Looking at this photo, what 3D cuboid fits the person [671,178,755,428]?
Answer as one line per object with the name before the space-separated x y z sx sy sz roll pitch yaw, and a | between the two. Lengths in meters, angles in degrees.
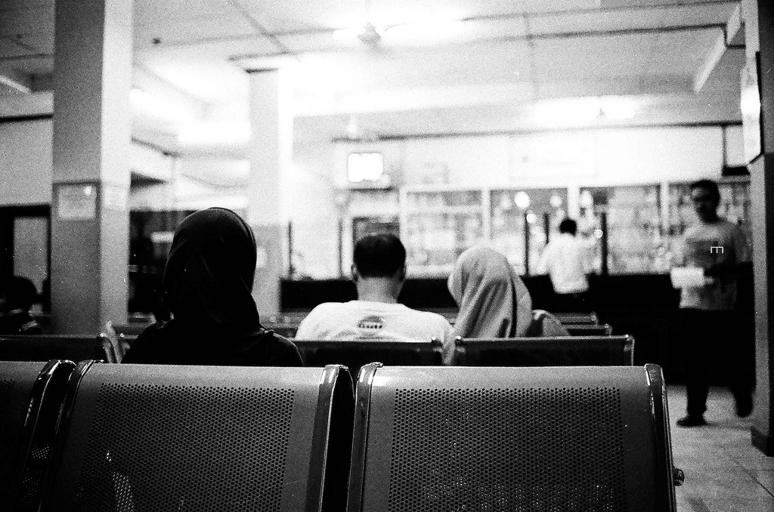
person | 1.650 0.241 3.931 0.349 1.252 0.092 -1 -1 17
